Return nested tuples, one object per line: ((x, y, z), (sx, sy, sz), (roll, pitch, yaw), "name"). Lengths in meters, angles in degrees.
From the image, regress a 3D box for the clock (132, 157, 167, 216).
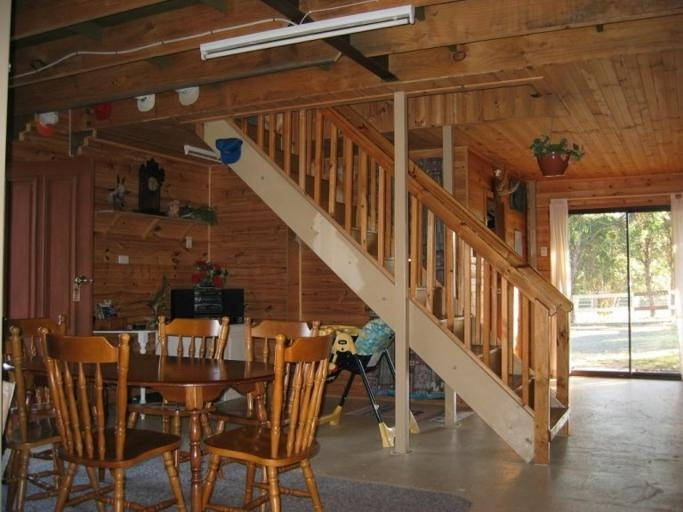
((-2.181, -0.789, 7.822), (0.280, 0.659, 0.304), (-1, -3, -16), "clock")

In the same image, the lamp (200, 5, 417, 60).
((-0.246, -1.476, 4.516), (1.513, 0.137, 0.182), (-2, -3, 19), "lamp")

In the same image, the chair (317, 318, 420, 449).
((0.295, 1.126, 6.770), (1.181, 1.400, 0.921), (0, -5, 24), "chair")

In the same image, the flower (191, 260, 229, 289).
((-1.569, 0.237, 8.182), (0.363, 0.267, 0.370), (2, -6, 17), "flower")

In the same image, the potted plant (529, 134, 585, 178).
((2.442, -1.140, 7.729), (0.499, 0.484, 0.876), (-3, -3, 25), "potted plant")

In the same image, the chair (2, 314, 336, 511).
((-1.091, 1.053, 4.781), (2.077, 1.202, 1.532), (-1, -3, -1), "chair")
